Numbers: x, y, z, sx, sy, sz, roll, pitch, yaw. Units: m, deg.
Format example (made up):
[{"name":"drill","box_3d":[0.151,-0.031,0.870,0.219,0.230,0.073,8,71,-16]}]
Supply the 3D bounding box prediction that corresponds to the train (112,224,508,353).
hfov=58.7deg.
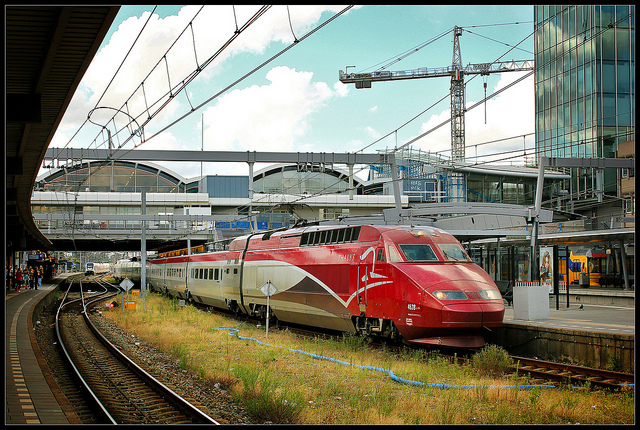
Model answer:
[{"name":"train","box_3d":[-3.388,3.893,34.755,3.882,4.838,34.454,11,-10,-32]}]
